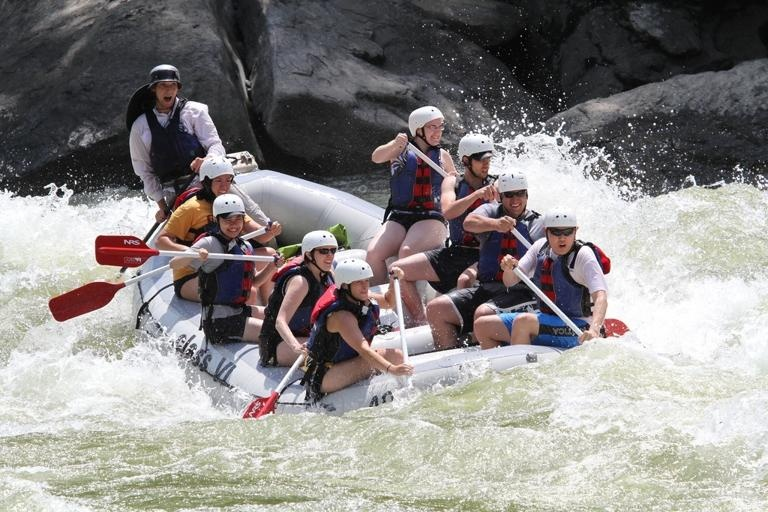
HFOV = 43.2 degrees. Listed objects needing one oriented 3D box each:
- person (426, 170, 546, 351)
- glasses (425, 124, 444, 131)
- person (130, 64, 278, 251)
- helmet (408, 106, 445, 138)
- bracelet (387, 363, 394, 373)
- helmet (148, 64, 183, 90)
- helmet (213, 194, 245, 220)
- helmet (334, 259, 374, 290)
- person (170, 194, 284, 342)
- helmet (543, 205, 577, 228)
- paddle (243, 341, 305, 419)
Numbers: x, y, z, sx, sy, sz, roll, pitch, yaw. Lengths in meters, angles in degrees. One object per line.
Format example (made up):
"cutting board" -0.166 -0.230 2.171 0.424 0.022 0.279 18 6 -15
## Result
"person" 1.161 0.267 10.305 1.124 2.401 1.290 11 13 35
"glasses" 0.555 -1.494 11.095 0.203 0.063 0.208 -1 1 -36
"person" -2.117 -1.093 11.279 1.590 2.322 0.982 -8 21 13
"helmet" 0.460 -1.584 11.219 0.408 0.318 0.304 -6 6 40
"bracelet" 0.050 1.075 9.355 0.054 0.074 0.065 12 9 13
"helmet" -2.529 -2.050 11.067 0.366 0.291 0.278 8 9 -10
"helmet" -1.657 -0.538 10.122 0.213 0.225 0.292 -4 -13 -46
"helmet" -0.292 0.139 9.412 0.326 0.251 0.239 -23 -1 21
"person" -1.664 0.245 10.252 1.169 1.773 0.950 -4 10 -16
"helmet" 1.761 -0.400 9.732 0.398 0.198 0.547 1 -5 1
"paddle" -1.085 1.262 9.592 0.497 0.771 0.334 5 10 -29
